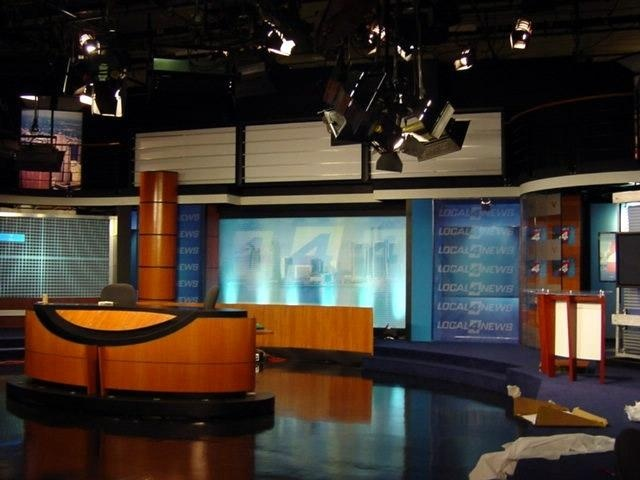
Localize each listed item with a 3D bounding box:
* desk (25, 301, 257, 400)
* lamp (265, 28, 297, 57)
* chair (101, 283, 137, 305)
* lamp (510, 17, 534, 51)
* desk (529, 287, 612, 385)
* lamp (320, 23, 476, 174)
[{"bbox_3d":[-2.178,1.344,7.892,2.711,1.043,0.421,0,6,8],"label":"desk"},{"bbox_3d":[-0.539,-2.836,9.141,0.362,0.380,0.577,-2,6,-14],"label":"lamp"},{"bbox_3d":[-2.648,0.726,8.552,0.307,0.414,0.341,2,-10,-10],"label":"chair"},{"bbox_3d":[3.094,-3.216,10.002,0.296,0.554,0.195,15,-21,13],"label":"lamp"},{"bbox_3d":[3.343,1.139,8.463,0.983,1.251,1.241,0,0,-14],"label":"desk"},{"bbox_3d":[0.883,-2.088,8.979,2.095,1.948,2.194,-1,-6,-23],"label":"lamp"}]
